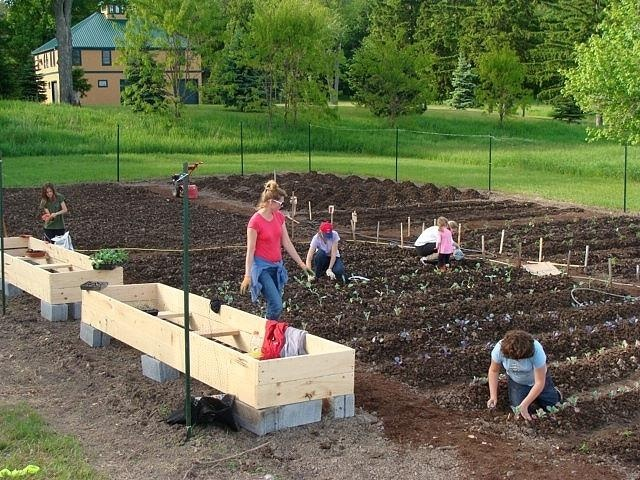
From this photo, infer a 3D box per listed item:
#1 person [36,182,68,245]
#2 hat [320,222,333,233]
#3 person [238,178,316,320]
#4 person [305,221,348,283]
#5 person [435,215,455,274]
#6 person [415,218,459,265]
[{"bbox_3d":[-6.423,-0.661,24.540,0.567,1.475,1.003,-3,13,-14],"label":"person"},{"bbox_3d":[0.156,-0.281,22.969,0.271,0.261,0.261,-1,12,-4],"label":"hat"},{"bbox_3d":[-0.981,0.218,19.614,1.263,2.640,0.627,-9,15,-37],"label":"person"},{"bbox_3d":[0.148,0.251,23.272,1.022,1.775,1.229,-4,8,-9],"label":"person"},{"bbox_3d":[2.999,0.088,24.179,0.413,1.119,0.951,1,12,6],"label":"person"},{"bbox_3d":[2.700,0.023,24.777,1.107,1.027,0.790,-13,14,-19],"label":"person"}]
